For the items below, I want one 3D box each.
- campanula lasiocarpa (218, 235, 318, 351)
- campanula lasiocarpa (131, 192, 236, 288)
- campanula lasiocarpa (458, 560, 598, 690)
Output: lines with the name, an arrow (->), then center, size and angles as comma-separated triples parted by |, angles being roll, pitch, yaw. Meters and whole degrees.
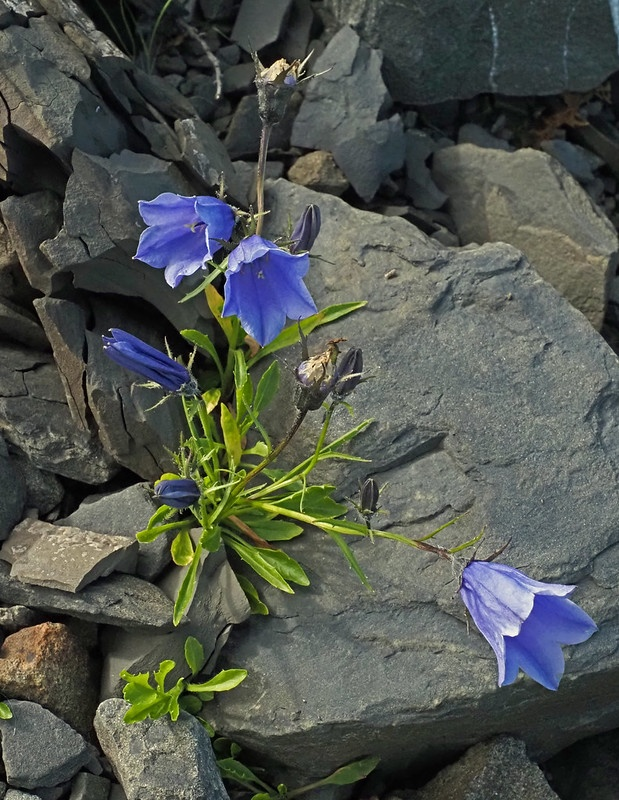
campanula lasiocarpa -> -0.130, -0.330, 2.576 | 0.253, 0.317, 0.301 | -10, 43, -4
campanula lasiocarpa -> -0.367, -0.460, 2.632 | 0.289, 0.282, 0.288 | -4, 43, 2
campanula lasiocarpa -> 0.636, 0.643, 2.687 | 0.411, 0.167, 0.318 | 41, 100, 32
